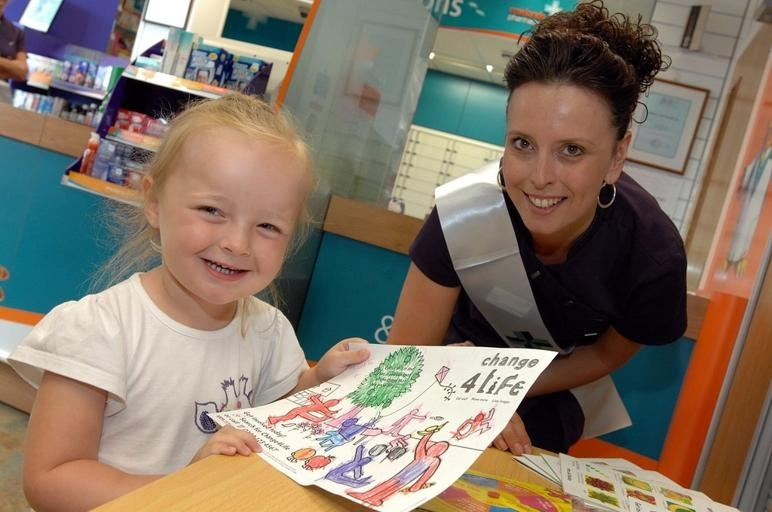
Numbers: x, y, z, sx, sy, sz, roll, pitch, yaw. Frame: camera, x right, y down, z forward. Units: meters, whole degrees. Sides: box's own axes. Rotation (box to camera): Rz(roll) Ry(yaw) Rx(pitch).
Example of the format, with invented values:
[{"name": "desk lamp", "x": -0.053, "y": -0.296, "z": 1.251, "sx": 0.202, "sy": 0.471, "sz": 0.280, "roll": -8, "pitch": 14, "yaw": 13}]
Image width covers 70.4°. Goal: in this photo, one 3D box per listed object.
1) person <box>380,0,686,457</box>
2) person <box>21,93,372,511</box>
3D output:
[{"name": "person", "x": 0.562, "y": -0.059, "z": 1.792, "sx": 0.852, "sy": 1.339, "sz": 0.451, "roll": 11, "pitch": 6, "yaw": -20}, {"name": "person", "x": -0.398, "y": 0.080, "z": 1.263, "sx": 0.747, "sy": 0.948, "sz": 0.500, "roll": 13, "pitch": 6, "yaw": 0}]
